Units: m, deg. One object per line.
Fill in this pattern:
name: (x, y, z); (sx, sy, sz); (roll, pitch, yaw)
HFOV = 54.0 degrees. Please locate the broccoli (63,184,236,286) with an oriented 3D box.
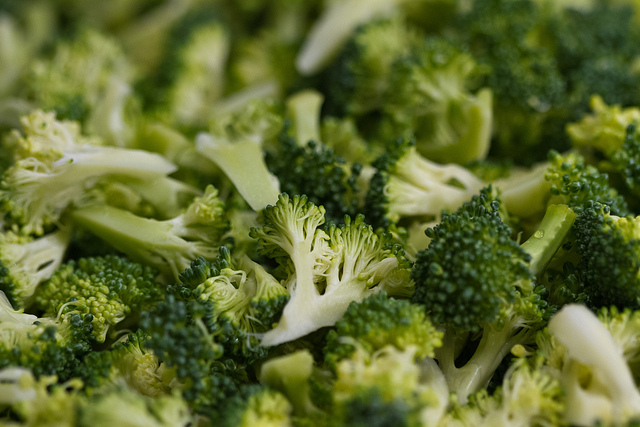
broccoli: (-0.548, 0.023, 2.124); (0.459, 0.315, 0.266); (17, 82, 0)

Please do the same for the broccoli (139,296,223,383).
broccoli: (-0.378, 0.330, 1.700); (0.136, 0.244, 0.207); (-49, 38, 4)

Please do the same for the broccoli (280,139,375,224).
broccoli: (0.030, -0.100, 2.123); (0.226, 0.307, 0.174); (37, 97, 6)

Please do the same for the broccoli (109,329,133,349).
broccoli: (-0.618, 0.379, 1.939); (0.052, 0.025, 0.069); (14, 52, 28)

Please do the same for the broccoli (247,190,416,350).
broccoli: (0.010, 0.135, 1.867); (0.464, 0.219, 0.365); (-10, 52, -24)

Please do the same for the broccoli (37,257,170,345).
broccoli: (-0.682, 0.313, 2.031); (0.337, 0.295, 0.245); (-4, 79, 17)

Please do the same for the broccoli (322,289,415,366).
broccoli: (0.135, 0.309, 1.730); (0.205, 0.189, 0.101); (-29, 94, -31)

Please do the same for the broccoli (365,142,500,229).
broccoli: (0.360, -0.074, 2.040); (0.368, 0.165, 0.263); (0, 44, 6)

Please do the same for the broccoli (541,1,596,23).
broccoli: (0.903, -0.746, 2.288); (0.149, 0.042, 0.120); (-21, 26, 15)

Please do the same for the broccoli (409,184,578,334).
broccoli: (0.486, 0.130, 1.853); (0.350, 0.273, 0.500); (38, 50, 19)

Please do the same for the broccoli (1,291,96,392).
broccoli: (-0.782, 0.375, 1.874); (0.269, 0.158, 0.243); (26, 80, -17)

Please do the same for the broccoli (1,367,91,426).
broccoli: (-0.708, 0.487, 1.691); (0.213, 0.100, 0.178); (-14, 87, -4)
